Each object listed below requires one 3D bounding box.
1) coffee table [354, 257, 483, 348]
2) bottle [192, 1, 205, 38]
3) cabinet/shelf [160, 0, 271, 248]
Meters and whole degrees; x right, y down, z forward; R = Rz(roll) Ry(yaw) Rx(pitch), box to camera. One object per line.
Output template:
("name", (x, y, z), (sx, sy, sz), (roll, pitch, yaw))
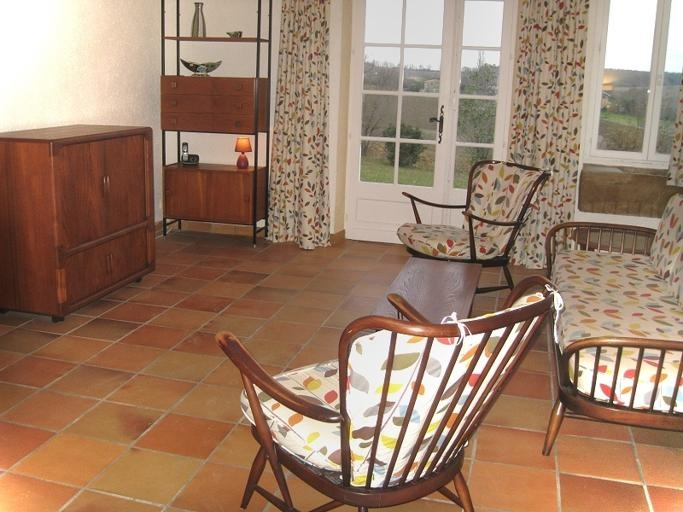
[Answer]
("coffee table", (0.549, 0.206, 3.301), (0.462, 0.234, 1.021), (6, 26, 8))
("bottle", (-1.470, -2.407, 5.614), (0.139, 0.364, 0.375), (-3, 18, -15))
("cabinet/shelf", (-1.350, -1.407, 5.784), (1.237, 2.442, 0.971), (3, 18, 4))
